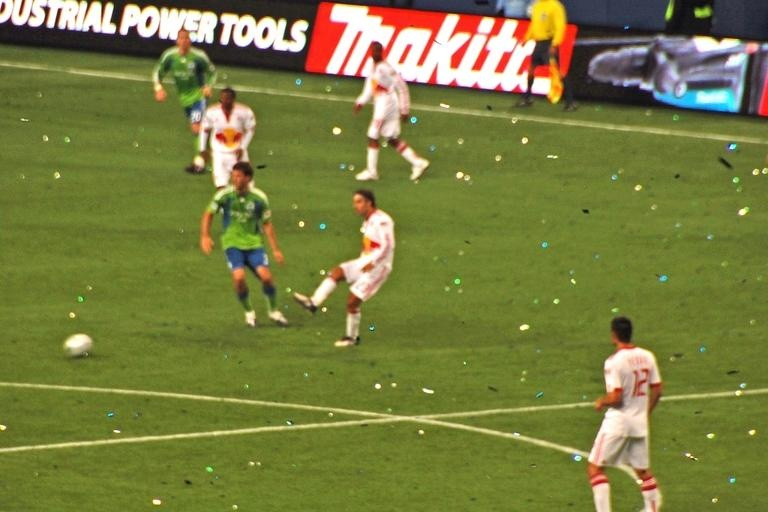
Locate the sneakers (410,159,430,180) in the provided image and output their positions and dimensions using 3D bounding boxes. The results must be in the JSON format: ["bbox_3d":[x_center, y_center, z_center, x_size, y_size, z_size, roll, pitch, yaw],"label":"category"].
[{"bbox_3d":[0.638,-1.461,25.665,0.234,0.167,0.489,12,-19,-11],"label":"sneakers"}]

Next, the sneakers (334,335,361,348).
[{"bbox_3d":[-0.555,1.316,22.961,0.329,0.118,0.174,0,-20,10],"label":"sneakers"}]

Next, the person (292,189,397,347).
[{"bbox_3d":[-0.454,0.241,22.653,1.099,2.461,0.569,11,19,8],"label":"person"}]

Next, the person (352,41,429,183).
[{"bbox_3d":[0.165,-2.450,25.577,1.252,2.440,1.376,8,19,-1],"label":"person"}]

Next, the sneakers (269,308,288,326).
[{"bbox_3d":[-1.622,0.971,23.266,0.276,0.105,0.225,35,-18,-11],"label":"sneakers"}]

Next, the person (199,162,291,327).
[{"bbox_3d":[-2.092,-0.105,22.815,1.397,2.595,0.782,6,19,-6],"label":"person"}]

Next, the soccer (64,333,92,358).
[{"bbox_3d":[-4.686,1.365,22.954,0.437,0.311,0.291,4,19,-12],"label":"soccer"}]
